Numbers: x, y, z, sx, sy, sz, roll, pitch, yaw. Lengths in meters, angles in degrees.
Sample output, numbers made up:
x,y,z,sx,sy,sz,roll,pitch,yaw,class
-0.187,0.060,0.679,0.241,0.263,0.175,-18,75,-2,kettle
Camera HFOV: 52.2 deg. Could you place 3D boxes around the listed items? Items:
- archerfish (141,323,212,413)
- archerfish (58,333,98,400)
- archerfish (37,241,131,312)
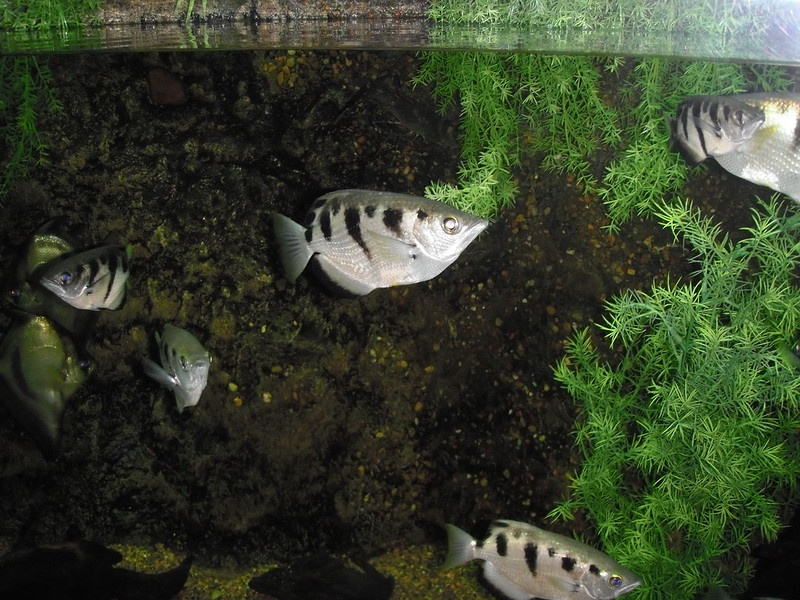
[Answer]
x,y,z,sx,sy,sz,roll,pitch,yaw,class
-0.787,0.227,2.889,0.144,0.372,0.270,4,93,-37,archerfish
-1.140,0.238,2.893,0.129,0.066,0.201,11,90,12,archerfish
-1.051,-0.099,2.912,0.113,0.446,0.303,13,101,31,archerfish
